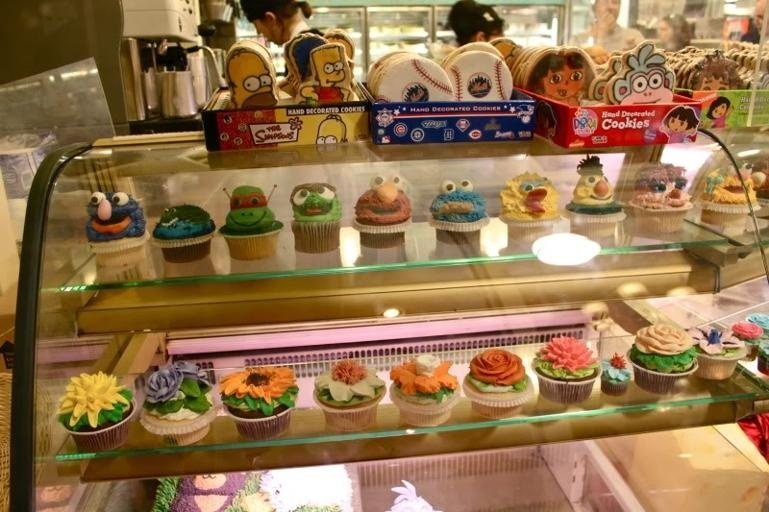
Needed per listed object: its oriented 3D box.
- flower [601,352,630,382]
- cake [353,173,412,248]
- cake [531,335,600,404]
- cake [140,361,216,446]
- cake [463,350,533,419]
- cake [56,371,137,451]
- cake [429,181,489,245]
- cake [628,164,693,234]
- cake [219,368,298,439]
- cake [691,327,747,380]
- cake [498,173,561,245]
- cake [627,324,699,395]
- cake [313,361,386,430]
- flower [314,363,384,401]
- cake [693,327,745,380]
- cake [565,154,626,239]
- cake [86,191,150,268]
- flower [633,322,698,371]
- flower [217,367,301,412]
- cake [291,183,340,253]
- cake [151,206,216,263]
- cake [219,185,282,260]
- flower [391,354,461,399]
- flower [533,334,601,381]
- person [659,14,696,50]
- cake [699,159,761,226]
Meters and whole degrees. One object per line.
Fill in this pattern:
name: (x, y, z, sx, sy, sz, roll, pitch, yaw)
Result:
flower: (0.901, 0.436, 2.164, 0.104, 0.058, 0.100, -2, 35, -1)
cake: (-0.024, -0.161, 2.123, 0.266, 0.284, 0.252, -3, 12, -13)
cake: (0.738, 0.444, 2.188, 0.245, 0.209, 0.232, -1, 13, 4)
cake: (-0.762, 0.545, 2.074, 0.287, 0.263, 0.262, -4, 15, -10)
cake: (0.440, 0.485, 2.152, 0.267, 0.201, 0.272, -1, 16, 7)
cake: (-1.032, 0.562, 2.009, 0.232, 0.222, 0.234, 2, 18, 26)
cake: (0.254, -0.175, 2.071, 0.228, 0.209, 0.227, -2, 14, -2)
cake: (1.015, -0.251, 2.160, 0.268, 0.267, 0.259, -10, 17, -33)
cake: (-0.457, 0.516, 1.998, 0.258, 0.171, 0.251, 0, 12, -1)
cake: (1.322, 0.369, 2.264, 0.210, 0.158, 0.205, 1, 14, 1)
cake: (0.554, -0.186, 2.104, 0.231, 0.263, 0.227, -1, 16, 2)
cake: (1.055, 0.382, 2.207, 0.240, 0.221, 0.265, 0, 23, 7)
cake: (-0.137, 0.512, 2.128, 0.254, 0.199, 0.245, 0, 17, -3)
flower: (-0.125, 0.462, 2.038, 0.172, 0.076, 0.158, -9, 26, -25)
cake: (1.317, 0.381, 2.223, 0.208, 0.157, 0.196, 2, 18, 29)
cake: (0.802, -0.223, 2.130, 0.263, 0.319, 0.258, -19, 22, -41)
cake: (-0.932, -0.103, 1.922, 0.198, 0.218, 0.196, -14, 29, -22)
flower: (1.081, 0.366, 2.148, 0.190, 0.108, 0.188, 3, 31, 20)
flower: (-0.470, 0.498, 2.095, 0.297, 0.105, 0.304, -5, 15, -26)
cake: (-0.254, -0.152, 2.061, 0.200, 0.241, 0.196, -10, 14, -35)
cake: (-0.710, -0.084, 2.017, 0.202, 0.145, 0.201, 12, 15, 32)
cake: (-0.492, -0.137, 2.030, 0.244, 0.258, 0.222, -2, 17, -2)
flower: (0.168, 0.407, 2.031, 0.186, 0.069, 0.174, -23, 38, -39)
flower: (0.708, 0.400, 2.180, 0.178, 0.074, 0.173, -1, 22, 2)
person: (3.668, -2.835, 6.959, 0.426, 0.350, 0.928, 11, 29, 24)
cake: (1.319, -0.241, 2.145, 0.234, 0.217, 0.224, 13, 21, 42)
